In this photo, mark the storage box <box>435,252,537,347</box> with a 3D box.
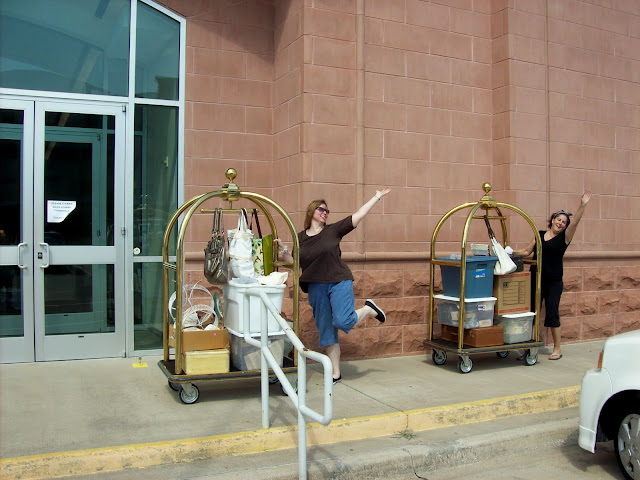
[{"bbox_3d":[2.351,0.803,8.162,1.865,1.380,1.045,1,-3,-35],"label":"storage box"}]

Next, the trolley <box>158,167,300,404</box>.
[{"bbox_3d":[-1.097,0.472,6.878,1.631,2.703,1.171,1,0,-31],"label":"trolley"}]

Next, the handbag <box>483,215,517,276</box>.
[{"bbox_3d":[2.572,0.069,8.122,0.415,0.597,0.791,-2,2,18],"label":"handbag"}]

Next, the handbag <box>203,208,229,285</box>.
[{"bbox_3d":[-1.214,0.081,6.564,0.265,0.821,0.290,-3,1,-11],"label":"handbag"}]

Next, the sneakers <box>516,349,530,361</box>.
[{"bbox_3d":[2.947,1.670,8.223,0.115,0.157,0.361,-4,-14,6],"label":"sneakers"}]
